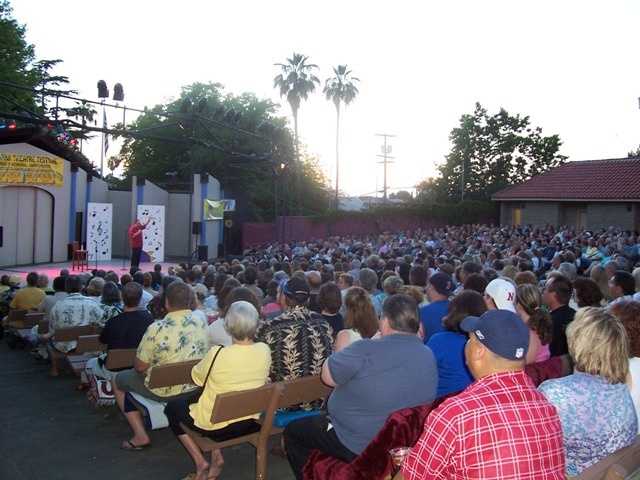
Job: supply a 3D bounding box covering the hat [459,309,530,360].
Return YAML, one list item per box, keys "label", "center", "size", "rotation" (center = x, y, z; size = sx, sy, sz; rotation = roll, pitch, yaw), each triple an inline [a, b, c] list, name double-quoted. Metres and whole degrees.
- label: "hat"
  center: [1.046, 0.576, 3.222]
  size: [0.224, 0.197, 0.330]
  rotation: [-3, 34, -35]

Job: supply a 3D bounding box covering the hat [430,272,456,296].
- label: "hat"
  center: [1.354, 0.486, 5.894]
  size: [0.389, 0.279, 0.211]
  rotation: [-2, 7, -41]

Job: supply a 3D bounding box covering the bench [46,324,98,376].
- label: "bench"
  center: [-3.119, 1.357, 6.735]
  size: [0.494, 0.729, 0.485]
  rotation: [-3, 22, -36]

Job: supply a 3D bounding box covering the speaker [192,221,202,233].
- label: "speaker"
  center: [-5.194, -0.550, 22.509]
  size: [0.355, 0.747, 0.701]
  rotation: [0, 3, -14]

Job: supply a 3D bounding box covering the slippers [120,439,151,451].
- label: "slippers"
  center: [-1.836, 2.044, 5.323]
  size: [0.197, 0.071, 0.118]
  rotation: [7, -6, -7]

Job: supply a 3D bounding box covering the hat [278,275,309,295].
- label: "hat"
  center: [-0.247, 0.425, 5.193]
  size: [0.230, 0.170, 0.288]
  rotation: [1, 6, -12]
